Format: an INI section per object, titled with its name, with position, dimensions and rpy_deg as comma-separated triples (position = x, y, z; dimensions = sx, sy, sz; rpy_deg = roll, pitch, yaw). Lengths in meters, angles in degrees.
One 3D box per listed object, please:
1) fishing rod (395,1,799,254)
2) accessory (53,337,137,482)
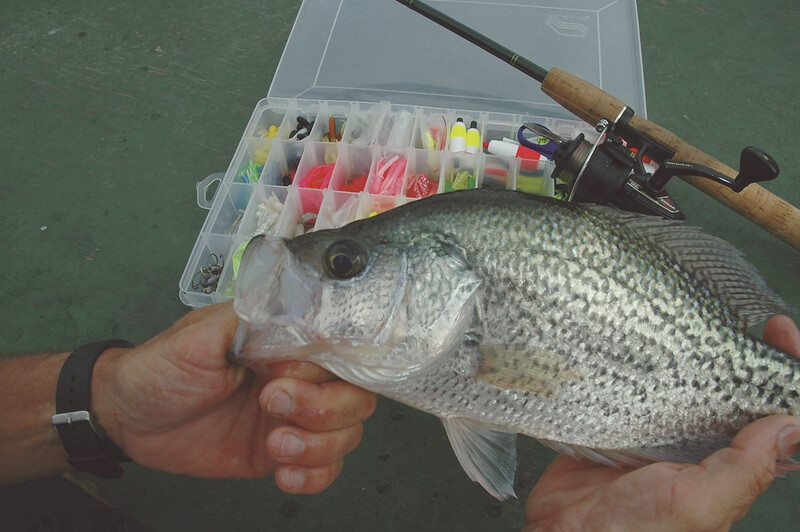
[fishing rod]
position = 0.837, -0.577, 3.492
dimensions = 2.012, 0.130, 0.140
rpy_deg = 35, 71, 15
[accessory]
position = -1.181, 0.537, 2.951
dimensions = 0.274, 0.446, 0.464
rpy_deg = -3, 86, 6
